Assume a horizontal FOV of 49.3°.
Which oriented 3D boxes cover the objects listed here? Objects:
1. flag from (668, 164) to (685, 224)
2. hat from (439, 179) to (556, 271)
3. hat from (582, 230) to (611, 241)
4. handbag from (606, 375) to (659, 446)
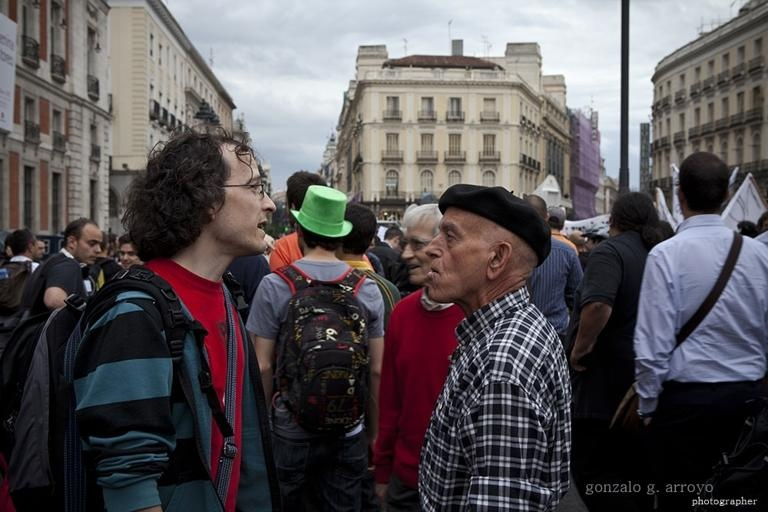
[{"bbox_3d":[3.292,-0.659,9.337,0.178,0.770,0.133,-9,34,8],"label":"flag"},{"bbox_3d":[0.678,-0.251,4.944,0.563,0.205,0.468,30,0,-8],"label":"hat"},{"bbox_3d":[3.054,-0.292,11.984,0.295,0.147,0.377,1,-1,15],"label":"hat"},{"bbox_3d":[1.937,1.176,6.651,0.299,0.441,0.208,6,32,14],"label":"handbag"}]
